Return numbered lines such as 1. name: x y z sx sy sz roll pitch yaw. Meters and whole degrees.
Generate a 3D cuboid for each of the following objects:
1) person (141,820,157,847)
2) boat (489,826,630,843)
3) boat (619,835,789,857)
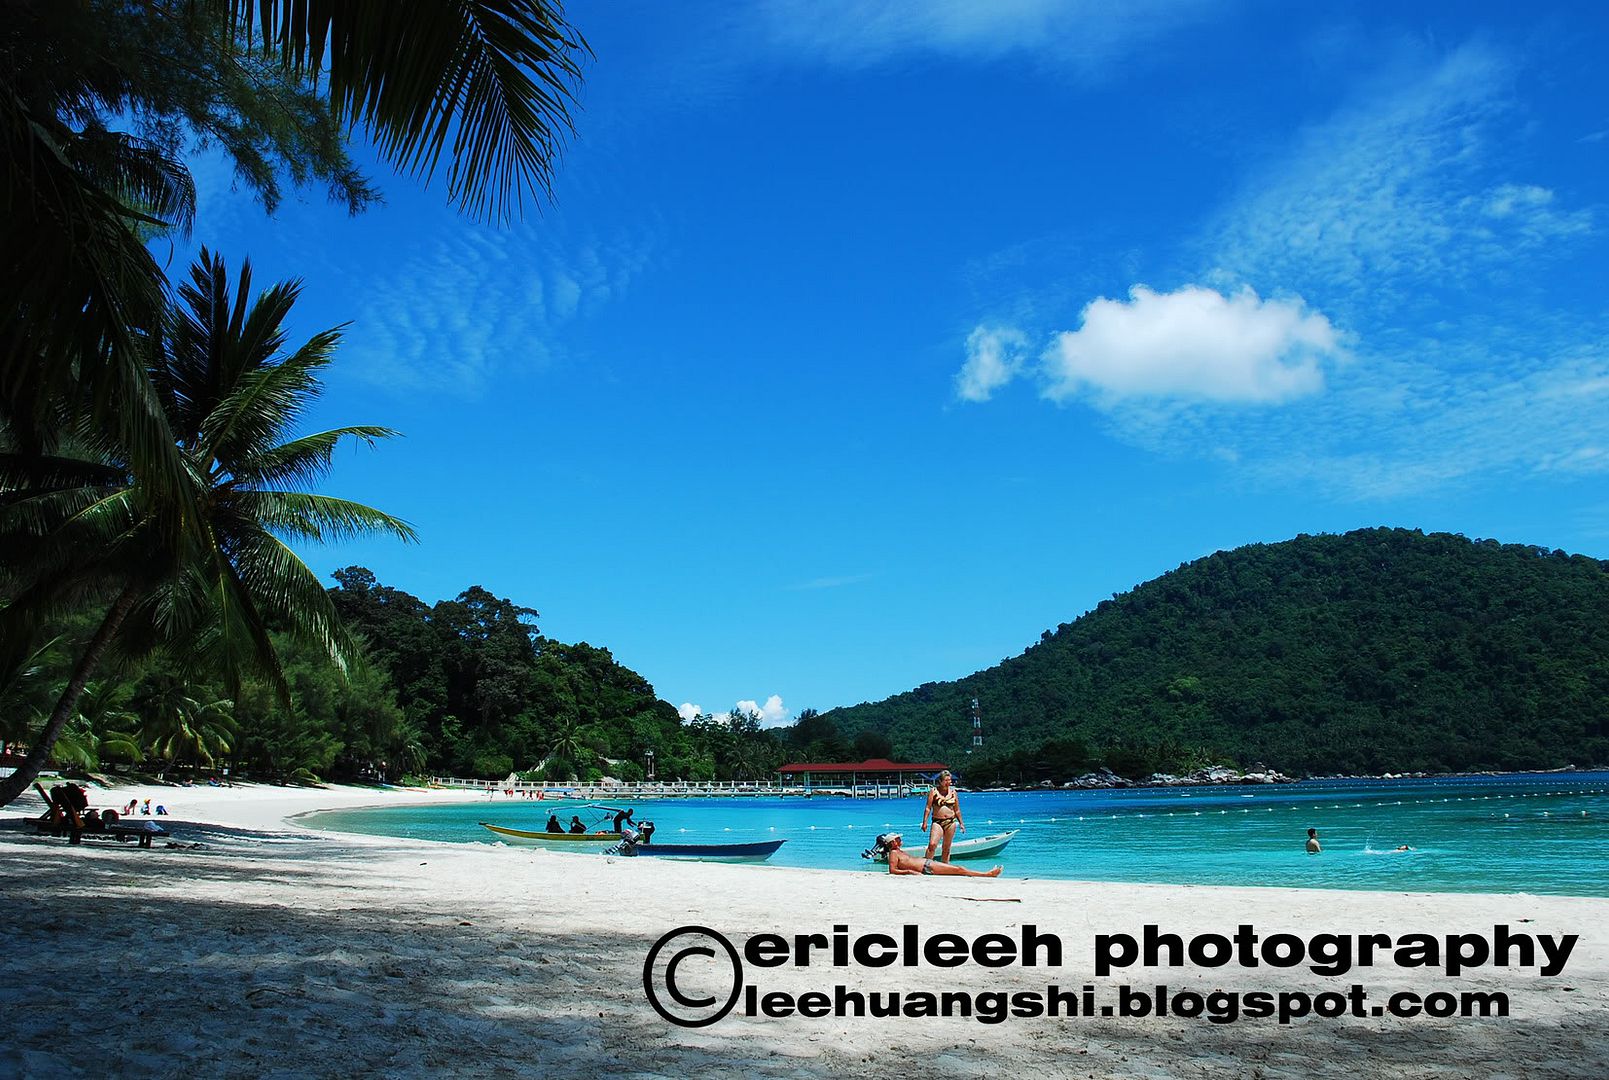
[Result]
1. person: -12.199 5.465 19.707 0.211 0.390 1.099 14 -20 -29
2. boat: -8.455 9.809 35.255 5.253 0.488 1.874 -13 -22 41
3. boat: -3.101 9.206 31.757 3.870 0.570 4.060 -2 -17 14
